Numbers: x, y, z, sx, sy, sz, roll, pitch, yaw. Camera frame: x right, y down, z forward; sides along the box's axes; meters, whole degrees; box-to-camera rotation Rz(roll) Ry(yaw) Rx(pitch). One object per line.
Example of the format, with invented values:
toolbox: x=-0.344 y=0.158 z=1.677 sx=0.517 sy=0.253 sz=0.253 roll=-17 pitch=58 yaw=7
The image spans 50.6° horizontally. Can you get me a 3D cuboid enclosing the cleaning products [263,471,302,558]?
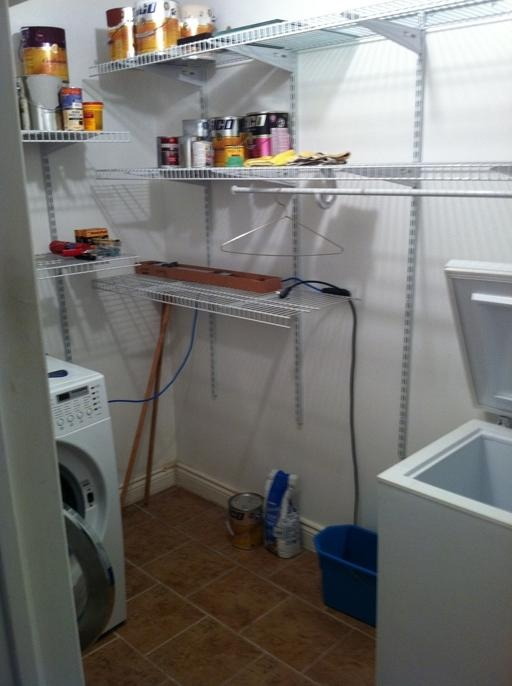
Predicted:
cleaning products: x=0.107 y=0.723 z=2.290 sx=0.111 sy=0.341 sz=0.148 roll=-13 pitch=17 yaw=-37

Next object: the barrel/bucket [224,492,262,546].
barrel/bucket: x=-0.042 y=0.769 z=2.377 sx=0.184 sy=0.233 sz=0.146 roll=-1 pitch=16 yaw=6

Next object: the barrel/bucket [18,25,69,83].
barrel/bucket: x=-0.749 y=-0.996 z=1.877 sx=0.167 sy=0.174 sz=0.130 roll=-2 pitch=13 yaw=0

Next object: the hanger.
hanger: x=0.110 y=-0.454 z=2.005 sx=0.451 sy=0.264 sz=0.058 roll=-1 pitch=19 yaw=-13

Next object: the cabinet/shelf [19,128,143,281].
cabinet/shelf: x=-0.763 y=-0.598 z=2.194 sx=0.181 sy=0.501 sz=0.543 roll=-6 pitch=25 yaw=-13
